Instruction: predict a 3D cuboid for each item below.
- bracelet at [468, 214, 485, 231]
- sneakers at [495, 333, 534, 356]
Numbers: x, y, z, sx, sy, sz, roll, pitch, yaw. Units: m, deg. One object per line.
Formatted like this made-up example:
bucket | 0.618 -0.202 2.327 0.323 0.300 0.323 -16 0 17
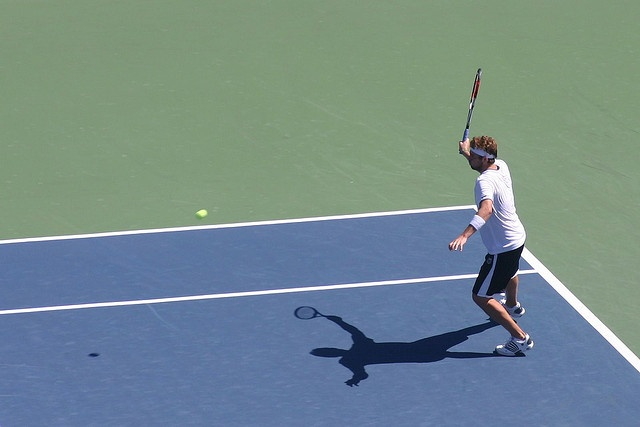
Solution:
bracelet | 1.774 0.078 11.222 0.190 0.168 0.183 38 95 18
sneakers | 2.346 1.605 11.685 0.519 0.241 0.191 -9 35 9
